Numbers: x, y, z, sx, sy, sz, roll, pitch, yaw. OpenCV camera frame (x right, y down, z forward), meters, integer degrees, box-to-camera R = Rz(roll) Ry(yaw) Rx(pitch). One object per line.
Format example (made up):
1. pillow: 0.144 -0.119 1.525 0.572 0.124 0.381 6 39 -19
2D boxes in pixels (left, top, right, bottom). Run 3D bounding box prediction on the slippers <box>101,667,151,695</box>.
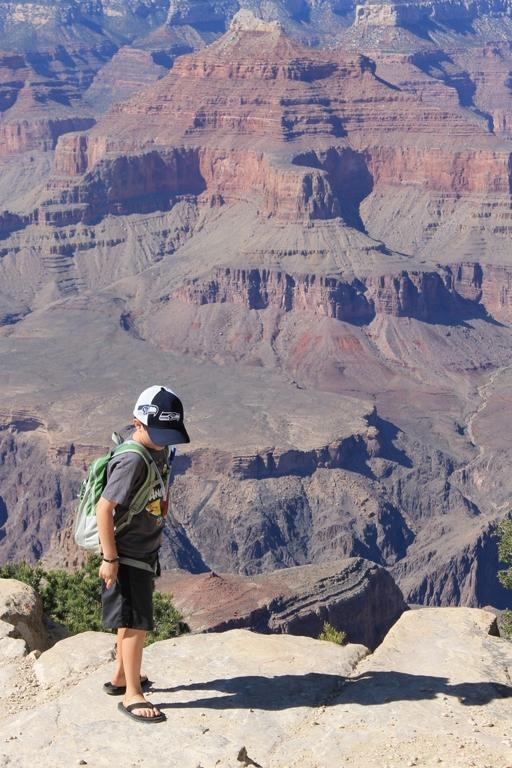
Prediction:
1. slippers: -2.056 4.599 25.744 0.683 0.234 0.287 -6 -1 21
